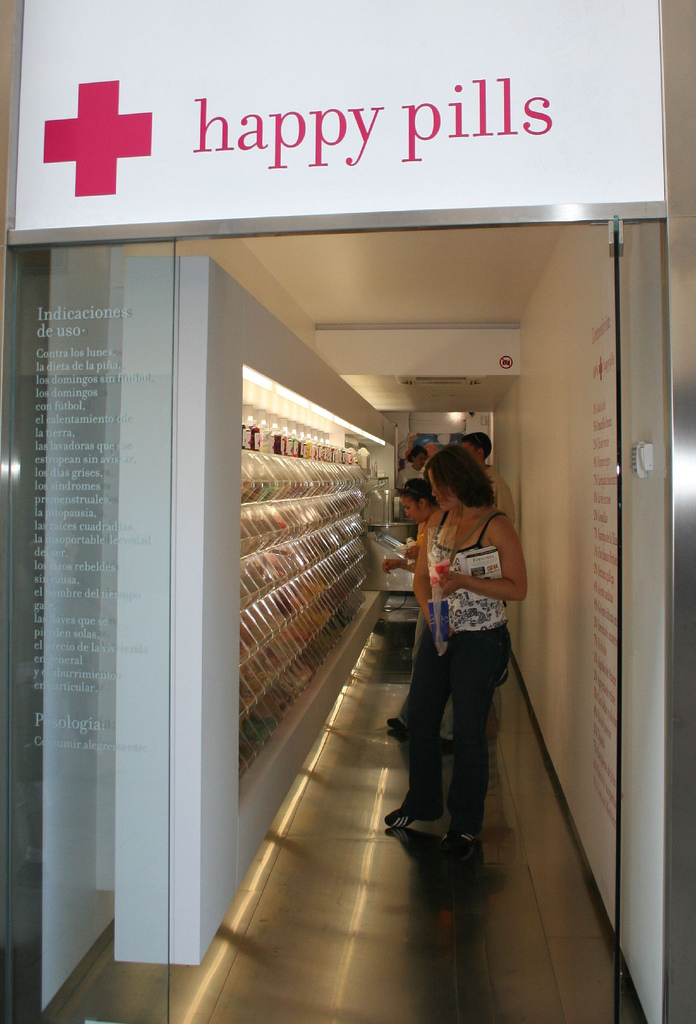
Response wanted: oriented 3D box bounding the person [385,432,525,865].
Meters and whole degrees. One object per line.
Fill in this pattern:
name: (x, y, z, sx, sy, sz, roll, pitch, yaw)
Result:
person: (0.372, 0.483, 2.667, 0.395, 1.431, 0.550, 0, -1, -20)
